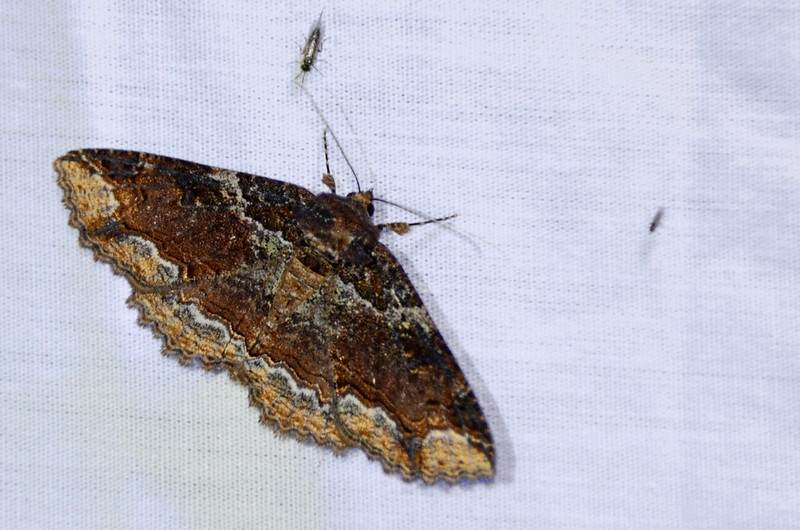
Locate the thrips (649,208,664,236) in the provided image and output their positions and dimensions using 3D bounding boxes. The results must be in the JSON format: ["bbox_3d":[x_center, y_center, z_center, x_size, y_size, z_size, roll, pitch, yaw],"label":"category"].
[{"bbox_3d":[2.508,-0.455,14.844,0.093,0.045,0.303,24,-85,10],"label":"thrips"}]

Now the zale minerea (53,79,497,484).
[{"bbox_3d":[-2.419,0.264,14.580,3.667,5.669,3.460,0,-89,-31],"label":"zale minerea"}]
